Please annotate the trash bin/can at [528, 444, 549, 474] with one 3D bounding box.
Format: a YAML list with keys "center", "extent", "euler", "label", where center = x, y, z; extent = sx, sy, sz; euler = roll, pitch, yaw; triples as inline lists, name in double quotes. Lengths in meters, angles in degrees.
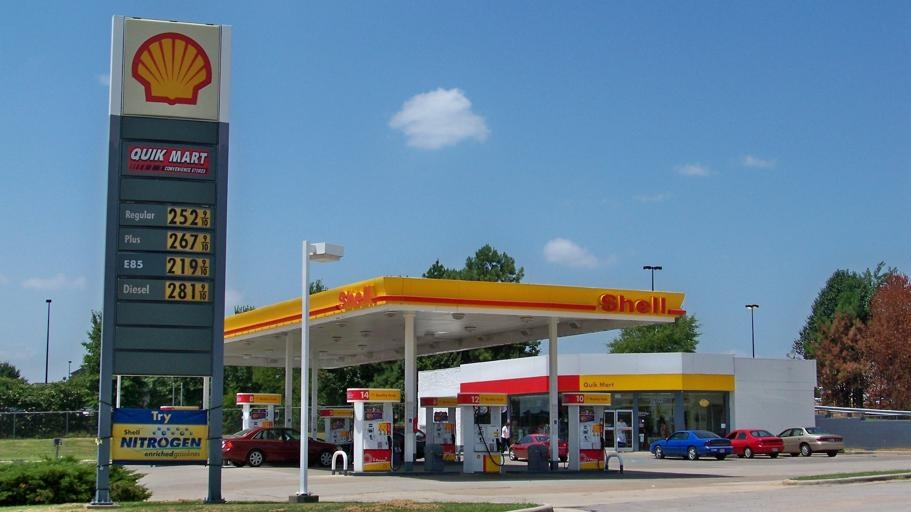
- center: [4.452, 10.767, 58.888]
  extent: [1.120, 1.468, 0.905]
  euler: [-1, -13, -1]
  label: "trash bin/can"

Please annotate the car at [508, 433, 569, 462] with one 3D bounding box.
- center: [4.599, 11.850, 67.472]
  extent: [2.156, 1.148, 3.471]
  euler: [3, -2, -39]
  label: "car"

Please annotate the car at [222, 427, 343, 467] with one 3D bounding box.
- center: [-9.715, 10.796, 61.511]
  extent: [6.129, 1.793, 2.515]
  euler: [-1, -4, -19]
  label: "car"

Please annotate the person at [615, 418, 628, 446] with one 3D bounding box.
- center: [11.567, 12.202, 76.230]
  extent: [0.680, 1.869, 1.271]
  euler: [-11, -17, 36]
  label: "person"
